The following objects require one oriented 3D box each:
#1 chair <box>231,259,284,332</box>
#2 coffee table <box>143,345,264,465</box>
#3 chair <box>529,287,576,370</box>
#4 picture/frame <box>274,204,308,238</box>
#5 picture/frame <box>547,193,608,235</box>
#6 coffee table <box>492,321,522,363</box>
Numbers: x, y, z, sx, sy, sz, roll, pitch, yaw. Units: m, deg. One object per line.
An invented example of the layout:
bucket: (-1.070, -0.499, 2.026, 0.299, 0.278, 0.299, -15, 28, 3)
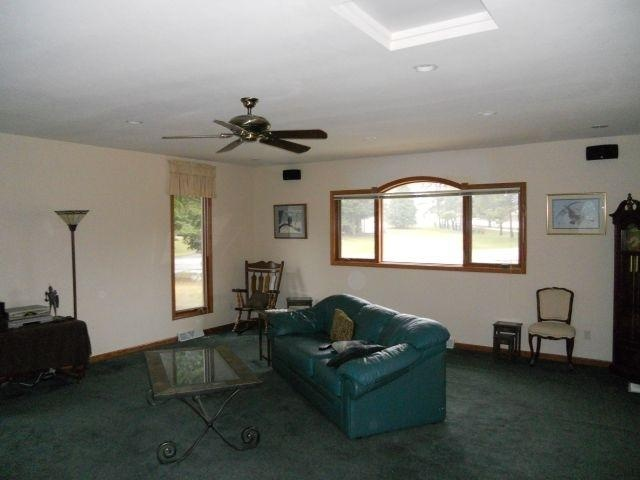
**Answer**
chair: (-1.099, 1.039, 8.041, 0.949, 1.187, 0.955, 0, 3, -17)
coffee table: (-1.215, 1.550, 4.694, 0.960, 0.703, 1.345, -4, 9, -22)
chair: (3.175, 1.204, 6.373, 0.555, 1.018, 0.666, 4, 10, 29)
picture/frame: (-0.509, -0.335, 8.519, 0.667, 0.564, 0.042, 0, 1, 25)
picture/frame: (3.600, -0.348, 6.448, 0.633, 0.502, 0.025, 1, 1, 29)
coffee table: (2.596, 1.417, 6.540, 0.386, 0.470, 0.429, 4, 8, 43)
